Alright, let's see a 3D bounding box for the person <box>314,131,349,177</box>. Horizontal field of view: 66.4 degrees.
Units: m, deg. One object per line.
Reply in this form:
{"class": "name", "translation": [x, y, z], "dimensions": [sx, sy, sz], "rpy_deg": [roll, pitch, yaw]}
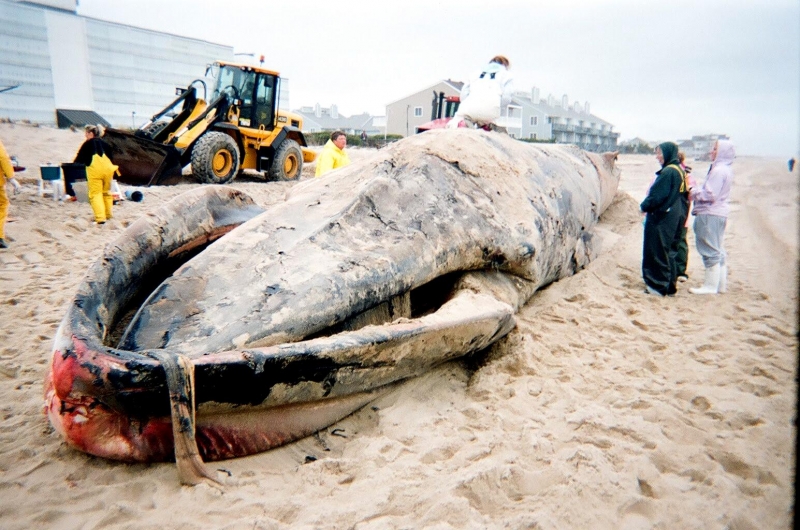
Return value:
{"class": "person", "translation": [-1.083, -1.775, 9.627], "dimensions": [0.338, 0.645, 0.853], "rpy_deg": [5, 12, 6]}

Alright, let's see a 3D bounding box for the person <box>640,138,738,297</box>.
{"class": "person", "translation": [3.851, -0.578, 7.494], "dimensions": [0.532, 1.835, 0.662], "rpy_deg": [10, 13, 29]}

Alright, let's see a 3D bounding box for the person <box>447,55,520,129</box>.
{"class": "person", "translation": [1.157, -2.360, 8.379], "dimensions": [0.748, 0.986, 0.601], "rpy_deg": [4, 12, 0]}

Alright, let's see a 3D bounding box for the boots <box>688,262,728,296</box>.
{"class": "boots", "translation": [3.711, 0.202, 7.456], "dimensions": [0.615, 0.487, 0.236], "rpy_deg": [-2, 4, -2]}

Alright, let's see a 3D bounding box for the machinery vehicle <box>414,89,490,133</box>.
{"class": "machinery vehicle", "translation": [1.353, -3.704, 14.992], "dimensions": [1.654, 1.046, 0.617], "rpy_deg": [1, 22, 15]}

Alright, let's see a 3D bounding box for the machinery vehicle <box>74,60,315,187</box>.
{"class": "machinery vehicle", "translation": [-4.367, -3.284, 14.099], "dimensions": [1.874, 2.851, 4.866], "rpy_deg": [10, 13, 30]}

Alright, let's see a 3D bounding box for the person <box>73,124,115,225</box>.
{"class": "person", "translation": [-5.174, -1.558, 10.420], "dimensions": [0.595, 1.556, 1.198], "rpy_deg": [-2, 13, -24]}
